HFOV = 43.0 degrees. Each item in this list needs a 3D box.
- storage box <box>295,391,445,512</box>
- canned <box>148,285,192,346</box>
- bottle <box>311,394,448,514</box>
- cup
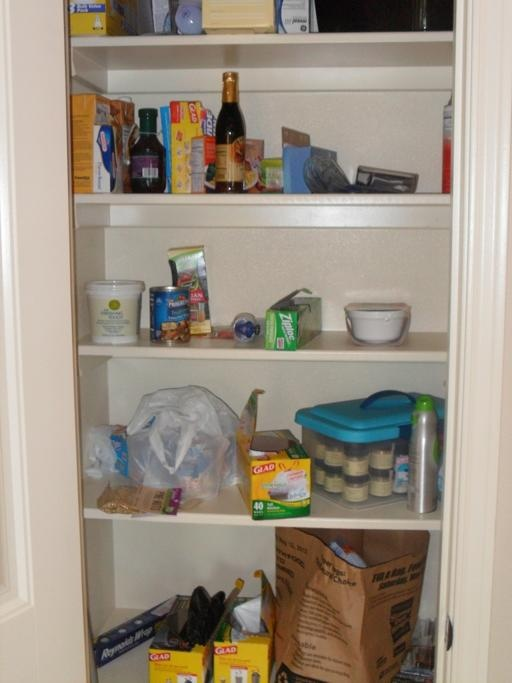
[{"bbox_3d":[0.242,0.207,1.394,0.321,0.204,0.235,-6,12,-23],"label":"storage box"},{"bbox_3d":[-0.188,-0.061,1.411,0.096,0.110,0.098,3,8,22],"label":"canned"},{"bbox_3d":[0.261,0.221,1.406,0.309,0.193,0.235,-6,12,-23],"label":"bottle"},{"bbox_3d":[-0.308,-0.070,1.412,0.126,0.132,0.125,2,11,0],"label":"cup"}]
